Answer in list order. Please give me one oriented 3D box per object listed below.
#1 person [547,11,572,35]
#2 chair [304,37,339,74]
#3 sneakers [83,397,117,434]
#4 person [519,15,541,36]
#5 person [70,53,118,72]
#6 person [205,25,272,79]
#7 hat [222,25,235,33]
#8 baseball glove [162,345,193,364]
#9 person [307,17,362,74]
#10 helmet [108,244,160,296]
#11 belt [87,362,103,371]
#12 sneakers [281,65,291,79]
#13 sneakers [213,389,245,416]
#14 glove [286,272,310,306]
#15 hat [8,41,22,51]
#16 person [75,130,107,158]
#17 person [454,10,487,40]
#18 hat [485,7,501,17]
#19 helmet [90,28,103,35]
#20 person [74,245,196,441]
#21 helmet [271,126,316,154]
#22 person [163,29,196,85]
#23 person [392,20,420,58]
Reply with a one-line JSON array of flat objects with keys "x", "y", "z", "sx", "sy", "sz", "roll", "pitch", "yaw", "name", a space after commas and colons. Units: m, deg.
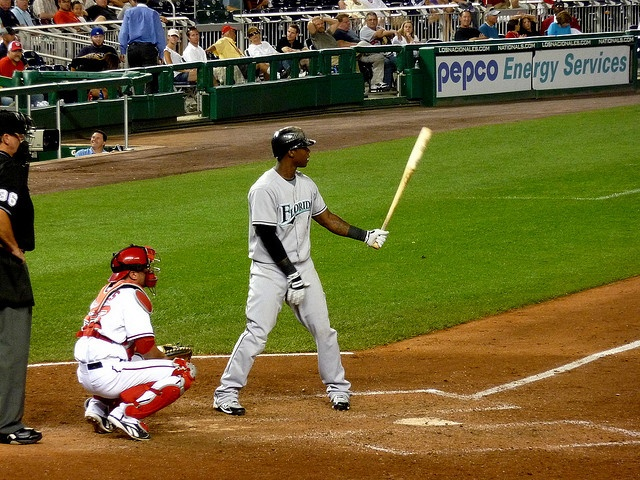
[{"x": 6.106, "y": -5.522, "z": 30.709, "sx": 0.589, "sy": 0.648, "sz": 0.940, "roll": -1, "pitch": 7, "yaw": 10, "name": "person"}, {"x": 0.077, "y": -4.474, "z": 29.117, "sx": 0.872, "sy": 1.033, "sz": 0.919, "roll": -12, "pitch": 15, "yaw": -41, "name": "chair"}, {"x": -2.169, "y": 1.702, "z": 11.799, "sx": 0.196, "sy": 0.237, "sz": 0.495, "roll": -18, "pitch": -35, "yaw": 22, "name": "sneakers"}, {"x": 5.479, "y": -5.588, "z": 31.706, "sx": 0.759, "sy": 0.258, "sz": 0.748, "roll": -1, "pitch": -11, "yaw": 1, "name": "person"}, {"x": -4.649, "y": -3.706, "z": 25.058, "sx": 1.083, "sy": 0.387, "sz": 0.546, "roll": -5, "pitch": 8, "yaw": -27, "name": "person"}, {"x": -1.940, "y": -4.254, "z": 27.730, "sx": 1.669, "sy": 1.258, "sz": 0.613, "roll": -2, "pitch": 3, "yaw": -19, "name": "person"}, {"x": -2.139, "y": -4.930, "z": 28.093, "sx": 0.337, "sy": 0.155, "sz": 0.191, "roll": -13, "pitch": 18, "yaw": -23, "name": "hat"}, {"x": -1.477, "y": 1.170, "z": 12.460, "sx": 0.324, "sy": 0.103, "sz": 0.175, "roll": 1, "pitch": 18, "yaw": 8, "name": "baseball glove"}, {"x": 0.229, "y": -4.748, "z": 29.074, "sx": 0.988, "sy": 1.322, "sz": 1.484, "roll": 0, "pitch": 8, "yaw": 15, "name": "person"}, {"x": -1.861, "y": 0.243, "z": 11.994, "sx": 0.577, "sy": 0.422, "sz": 0.404, "roll": -3, "pitch": 8, "yaw": -18, "name": "helmet"}, {"x": -2.180, "y": 1.206, "z": 11.676, "sx": 0.143, "sy": 0.069, "sz": 0.025, "roll": -2, "pitch": 8, "yaw": -3, "name": "belt"}, {"x": -0.818, "y": -3.974, "z": 28.444, "sx": 0.269, "sy": 0.236, "sz": 0.302, "roll": 1, "pitch": -20, "yaw": -7, "name": "sneakers"}, {"x": -0.862, "y": 1.637, "z": 12.266, "sx": 0.432, "sy": 0.174, "sz": 0.173, "roll": 4, "pitch": 6, "yaw": 43, "name": "sneakers"}, {"x": -0.239, "y": 0.489, "z": 12.241, "sx": 0.213, "sy": 0.364, "sz": 0.168, "roll": -1, "pitch": 8, "yaw": 6, "name": "glove"}, {"x": -5.879, "y": -3.747, "z": 23.226, "sx": 0.222, "sy": 0.144, "sz": 0.279, "roll": -4, "pitch": 19, "yaw": -22, "name": "hat"}, {"x": -4.459, "y": -1.880, "z": 23.326, "sx": 0.623, "sy": 0.480, "sz": 0.911, "roll": -3, "pitch": 7, "yaw": -11, "name": "person"}, {"x": 3.811, "y": -5.370, "z": 30.332, "sx": 0.983, "sy": 0.798, "sz": 0.823, "roll": 6, "pitch": 21, "yaw": 30, "name": "person"}, {"x": 4.705, "y": -6.196, "z": 32.758, "sx": 0.491, "sy": 0.305, "sz": 0.646, "roll": 1, "pitch": 6, "yaw": 1, "name": "hat"}, {"x": -4.630, "y": -4.338, "z": 25.024, "sx": 0.216, "sy": 0.121, "sz": 0.191, "roll": 2, "pitch": 8, "yaw": -4, "name": "helmet"}, {"x": -1.846, "y": 0.985, "z": 11.730, "sx": 1.072, "sy": 1.845, "sz": 0.541, "roll": -4, "pitch": 9, "yaw": -11, "name": "person"}, {"x": -0.275, "y": -1.017, "z": 12.310, "sx": 0.426, "sy": 0.204, "sz": 0.271, "roll": -13, "pitch": 21, "yaw": -3, "name": "helmet"}, {"x": -3.096, "y": -4.020, "z": 26.374, "sx": 0.620, "sy": 1.163, "sz": 1.170, "roll": -1, "pitch": 8, "yaw": 10, "name": "person"}, {"x": 2.061, "y": -5.136, "z": 29.758, "sx": 0.575, "sy": 0.660, "sz": 1.500, "roll": -1, "pitch": 7, "yaw": 4, "name": "person"}]
